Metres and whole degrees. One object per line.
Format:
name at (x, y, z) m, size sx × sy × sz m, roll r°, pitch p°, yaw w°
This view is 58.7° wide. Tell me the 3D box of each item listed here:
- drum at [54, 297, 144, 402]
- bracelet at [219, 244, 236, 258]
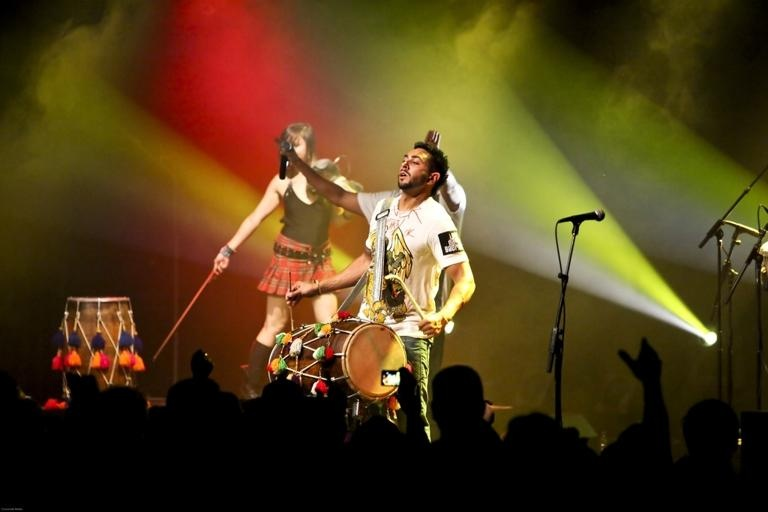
drum at (-2.952, 0.968, 7.115) m, size 0.802 × 0.992 × 0.871 m, roll -5°, pitch -9°, yaw 24°
bracelet at (-1.686, -0.049, 7.376) m, size 0.135 × 0.134 × 0.122 m, roll 27°, pitch 10°, yaw -18°
